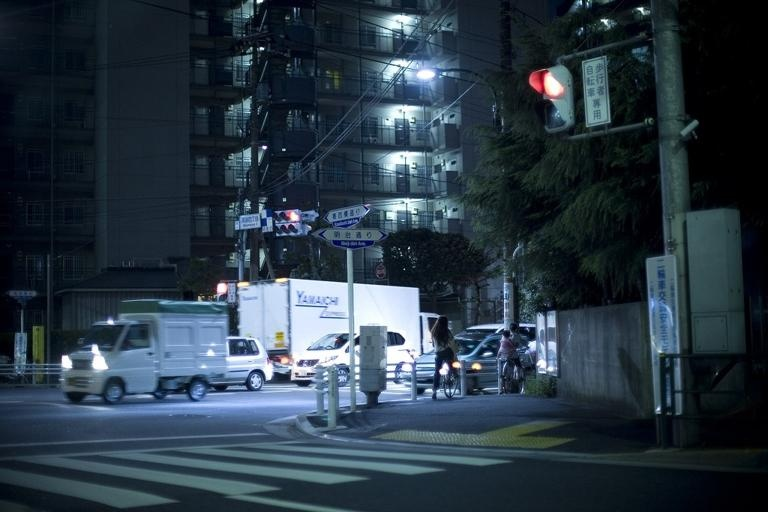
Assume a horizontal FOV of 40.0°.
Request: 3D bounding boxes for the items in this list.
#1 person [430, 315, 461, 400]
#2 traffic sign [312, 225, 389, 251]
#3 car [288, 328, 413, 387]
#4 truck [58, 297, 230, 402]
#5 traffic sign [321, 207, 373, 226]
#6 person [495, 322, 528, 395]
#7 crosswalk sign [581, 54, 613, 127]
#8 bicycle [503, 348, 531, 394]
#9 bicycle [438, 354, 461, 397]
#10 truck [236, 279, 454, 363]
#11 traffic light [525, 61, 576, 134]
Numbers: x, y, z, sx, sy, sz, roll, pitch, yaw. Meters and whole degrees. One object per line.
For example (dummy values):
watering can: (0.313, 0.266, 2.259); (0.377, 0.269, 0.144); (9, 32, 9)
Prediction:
person: (1.825, 3.100, 31.871); (0.791, 2.490, 1.469); (-1, -6, 2)
traffic sign: (-1.289, -0.559, 35.806); (2.488, 0.899, 0.318); (2, -7, -20)
car: (-0.874, 3.834, 40.539); (4.649, 2.015, 2.402); (0, -1, -34)
truck: (-7.849, 3.121, 34.588); (2.762, 3.155, 5.033); (-3, -5, 41)
traffic sign: (-1.022, -1.056, 28.729); (1.145, 0.607, 0.546); (-4, -7, 22)
person: (4.112, 3.327, 33.855); (0.745, 2.185, 1.507); (-4, -7, 21)
crosswalk sign: (4.743, -3.653, 23.496); (0.553, 1.546, 0.353); (-3, -6, 16)
bicycle: (4.156, 3.963, 34.703); (0.962, 1.235, 2.017); (-1, -6, 26)
bicycle: (2.198, 3.798, 32.509); (0.741, 1.033, 1.797); (10, -9, 15)
truck: (-1.744, 3.002, 44.019); (7.853, 3.869, 4.436); (3, -6, -36)
traffic light: (3.741, -3.450, 23.112); (0.661, 1.391, 0.864); (-8, -5, 40)
